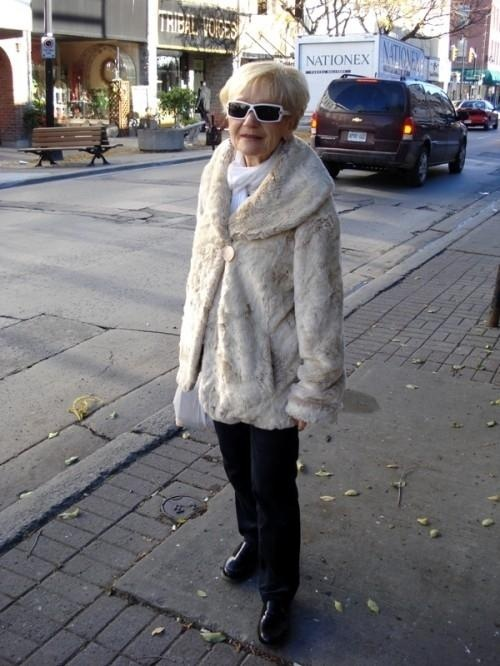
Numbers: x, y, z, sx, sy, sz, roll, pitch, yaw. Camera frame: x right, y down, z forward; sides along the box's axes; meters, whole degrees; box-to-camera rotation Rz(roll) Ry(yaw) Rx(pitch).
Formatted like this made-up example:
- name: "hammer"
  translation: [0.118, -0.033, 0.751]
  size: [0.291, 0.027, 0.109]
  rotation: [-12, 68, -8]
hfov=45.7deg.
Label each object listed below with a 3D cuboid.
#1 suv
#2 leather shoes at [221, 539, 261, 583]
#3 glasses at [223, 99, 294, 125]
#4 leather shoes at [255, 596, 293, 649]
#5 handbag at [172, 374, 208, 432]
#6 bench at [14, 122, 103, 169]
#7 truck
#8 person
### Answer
- name: "suv"
  translation: [3.837, -5.113, 14.613]
  size: [2.885, 2.060, 5.203]
  rotation: [14, 28, 35]
- name: "leather shoes"
  translation: [-0.028, 0.860, 2.240]
  size: [0.082, 0.082, 0.199]
  rotation: [5, -6, 20]
- name: "glasses"
  translation: [0.010, -0.630, 1.692]
  size: [0.153, 0.069, 0.060]
  rotation: [3, 13, 12]
- name: "leather shoes"
  translation: [0.073, 0.923, 1.891]
  size: [0.064, 0.063, 0.166]
  rotation: [2, -5, 8]
- name: "handbag"
  translation: [-0.205, 0.258, 2.117]
  size: [0.131, 0.167, 0.101]
  rotation: [-11, -22, 26]
- name: "bench"
  translation: [-5.103, -5.200, 16.582]
  size: [2.220, 0.866, 0.836]
  rotation: [-6, 33, -2]
- name: "truck"
  translation: [4.852, -10.097, 23.994]
  size: [3.425, 3.407, 6.432]
  rotation: [9, 27, 28]
- name: "person"
  translation: [0.034, 0.080, 1.857]
  size: [0.329, 1.750, 0.546]
  rotation: [-9, 15, -34]
